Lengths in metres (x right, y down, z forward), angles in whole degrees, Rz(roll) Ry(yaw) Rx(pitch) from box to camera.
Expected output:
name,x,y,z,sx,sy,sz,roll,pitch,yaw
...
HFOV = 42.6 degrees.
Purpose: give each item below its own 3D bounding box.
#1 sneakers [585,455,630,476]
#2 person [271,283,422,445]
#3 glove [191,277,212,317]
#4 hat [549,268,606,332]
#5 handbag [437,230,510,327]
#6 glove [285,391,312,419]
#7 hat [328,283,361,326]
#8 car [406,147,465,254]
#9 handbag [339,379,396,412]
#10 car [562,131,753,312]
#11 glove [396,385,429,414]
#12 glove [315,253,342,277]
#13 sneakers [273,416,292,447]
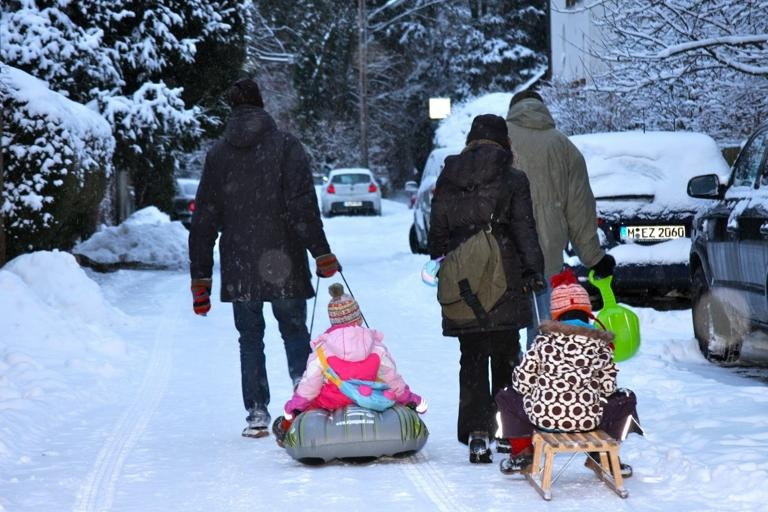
name,x,y,z,sx,sy,sz,roll,pitch,yaw
sneakers,1.932,1.796,8.499,0.384,0.182,0.157,1,3,11
person,-0.300,0.935,9.206,1.324,1.542,0.959,-3,15,-5
glove,-1.794,0.394,9.704,0.213,0.437,0.121,1,-3,0
hat,1.650,0.499,8.617,0.358,0.621,0.531,-15,39,10
handbag,0.793,0.185,8.799,0.623,0.855,0.256,-1,11,3
glove,-0.801,1.391,9.044,0.191,0.249,0.100,27,5,2
hat,-0.393,0.412,8.989,0.268,0.423,0.263,5,35,20
car,0.997,-1.082,19.631,1.146,1.178,2.109,-1,11,-2
handbag,-0.135,1.209,8.845,0.375,0.164,0.293,23,37,-2
car,3.452,-0.481,12.628,1.482,1.524,2.826,-2,17,6
glove,0.287,1.327,9.089,0.137,0.191,0.403,4,2,34
glove,-0.541,0.104,9.476,0.187,0.229,0.247,-23,-7,-13
sneakers,-0.949,1.618,9.165,0.121,0.397,0.158,0,-13,0
